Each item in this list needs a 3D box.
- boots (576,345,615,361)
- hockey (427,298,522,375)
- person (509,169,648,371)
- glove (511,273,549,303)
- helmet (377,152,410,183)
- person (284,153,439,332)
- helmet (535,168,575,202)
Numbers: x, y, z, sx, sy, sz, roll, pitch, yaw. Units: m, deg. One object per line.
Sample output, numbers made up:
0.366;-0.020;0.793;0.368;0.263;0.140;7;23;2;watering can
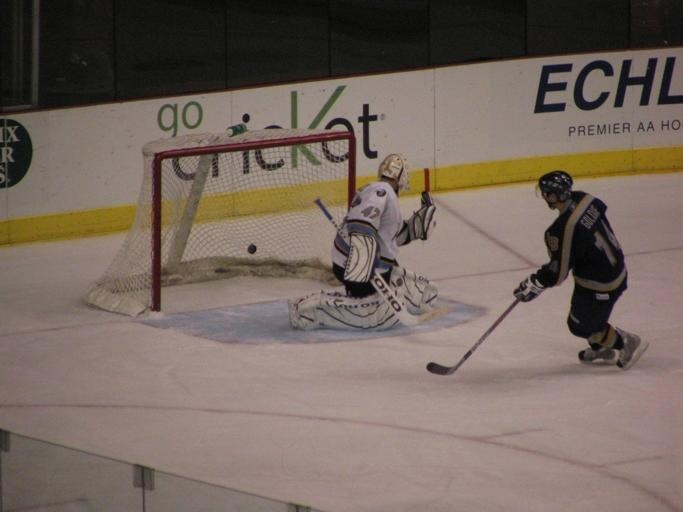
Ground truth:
1.602;0.613;6.350;0.252;0.122;0.086;-1;15;4;boots
0.883;0.550;6.642;0.668;0.131;0.056;-39;-6;-7;hockey
1.434;0.128;6.289;0.641;1.275;0.858;-23;26;-35;person
1.162;0.208;6.235;0.094;0.214;0.125;34;27;-39;glove
0.375;-0.624;7.002;0.157;0.196;0.221;23;24;34;helmet
-0.046;-0.172;7.301;1.248;1.623;0.930;1;15;-8;person
1.314;-0.440;6.187;0.195;0.164;0.155;16;22;25;helmet
